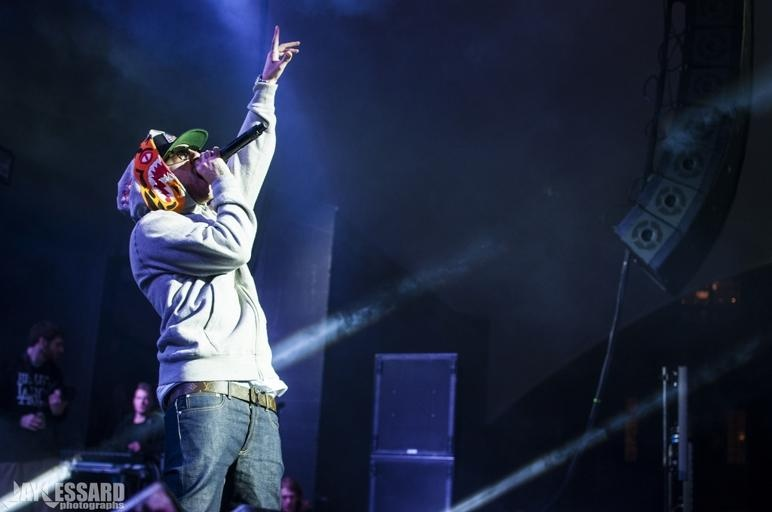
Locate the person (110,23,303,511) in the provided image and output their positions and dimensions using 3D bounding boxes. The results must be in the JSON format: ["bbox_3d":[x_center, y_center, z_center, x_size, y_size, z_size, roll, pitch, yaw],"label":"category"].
[{"bbox_3d":[-0.975,0.279,3.485,1.004,2.026,0.486,7,-20,-8],"label":"person"}]

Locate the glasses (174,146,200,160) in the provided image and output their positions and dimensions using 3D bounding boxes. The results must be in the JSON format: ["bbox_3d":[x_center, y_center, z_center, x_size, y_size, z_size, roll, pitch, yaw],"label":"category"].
[{"bbox_3d":[-1.146,-0.582,3.651,0.100,0.032,0.103,4,-14,-36],"label":"glasses"}]
